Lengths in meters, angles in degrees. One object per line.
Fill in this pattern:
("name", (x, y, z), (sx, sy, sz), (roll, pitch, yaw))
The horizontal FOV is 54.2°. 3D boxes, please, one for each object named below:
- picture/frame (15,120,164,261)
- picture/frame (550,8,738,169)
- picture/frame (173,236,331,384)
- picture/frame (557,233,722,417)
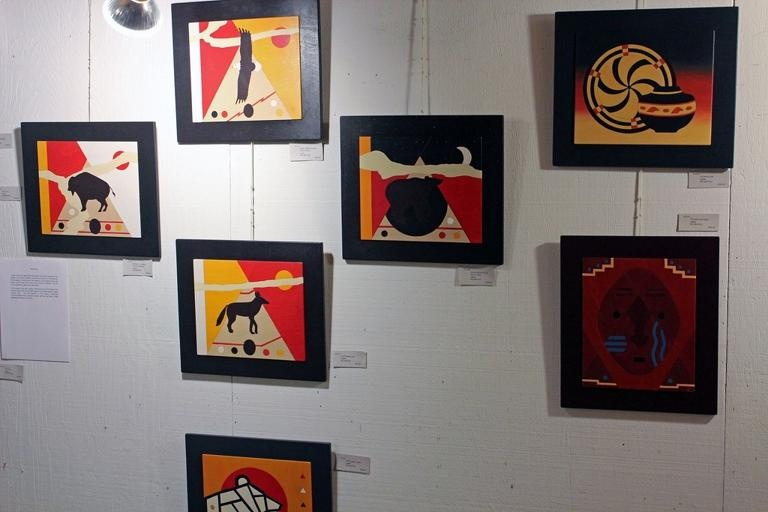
("picture/frame", (-1.505, -0.358, 3.885), (0.679, 0.693, 0.051), (1, 8, 10))
("picture/frame", (1.290, -0.822, 3.605), (0.710, 0.660, 0.033), (1, 4, 9))
("picture/frame", (-0.649, 0.254, 3.821), (0.697, 0.655, 0.053), (1, 5, 11))
("picture/frame", (1.279, 0.307, 3.653), (0.825, 0.996, 0.070), (1, 3, 10))
